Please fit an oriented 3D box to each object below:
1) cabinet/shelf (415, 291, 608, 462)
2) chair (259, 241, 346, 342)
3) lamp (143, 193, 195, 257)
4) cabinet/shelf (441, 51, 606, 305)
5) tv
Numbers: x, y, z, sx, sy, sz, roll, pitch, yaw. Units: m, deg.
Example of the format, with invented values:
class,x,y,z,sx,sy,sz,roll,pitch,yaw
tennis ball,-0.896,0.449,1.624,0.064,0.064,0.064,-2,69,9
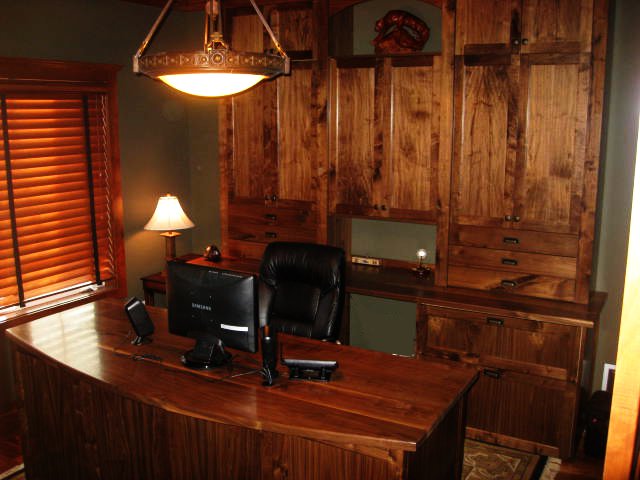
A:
class,x,y,z,sx,sy,sz,roll,pitch,yaw
cabinet/shelf,1.403,0.861,4.155,1.191,1.157,0.803,6,20,26
chair,0.011,0.324,3.883,0.556,0.837,0.676,2,3,20
lamp,-1.399,-0.110,5.020,0.402,0.621,0.410,2,17,0
cabinet/shelf,1.460,-0.470,3.997,0.953,1.850,0.622,3,1,25
tv,-0.591,0.429,2.915,0.474,0.415,0.218,8,17,26
